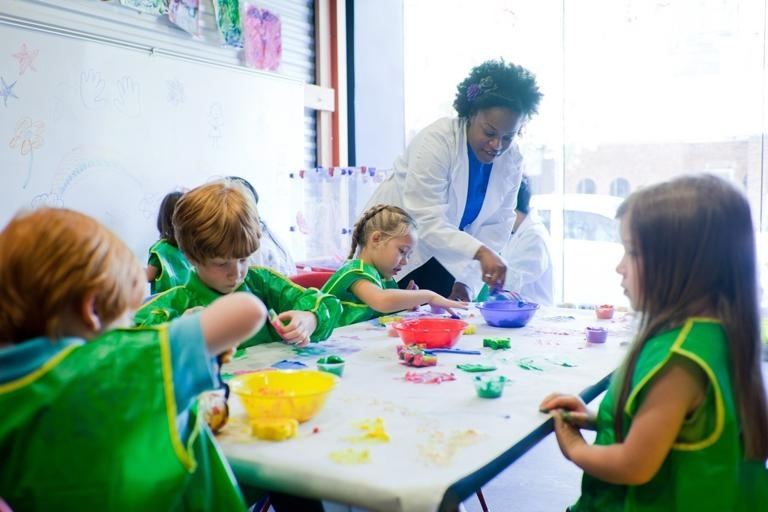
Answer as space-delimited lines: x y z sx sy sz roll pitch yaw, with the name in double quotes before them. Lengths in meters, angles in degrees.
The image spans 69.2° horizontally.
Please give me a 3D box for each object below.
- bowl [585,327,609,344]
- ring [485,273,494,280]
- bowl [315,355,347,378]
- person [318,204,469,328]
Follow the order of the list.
"bowl" 0.695 0.255 1.813 0.054 0.031 0.054 0 -5 0
"ring" 0.473 0.088 2.488 0.036 0.022 0.035 -2 -25 -1
"bowl" -0.146 0.287 1.462 0.053 0.036 0.057 1 -6 0
"person" 0.025 0.046 2.426 0.557 0.778 0.463 -1 34 -3
